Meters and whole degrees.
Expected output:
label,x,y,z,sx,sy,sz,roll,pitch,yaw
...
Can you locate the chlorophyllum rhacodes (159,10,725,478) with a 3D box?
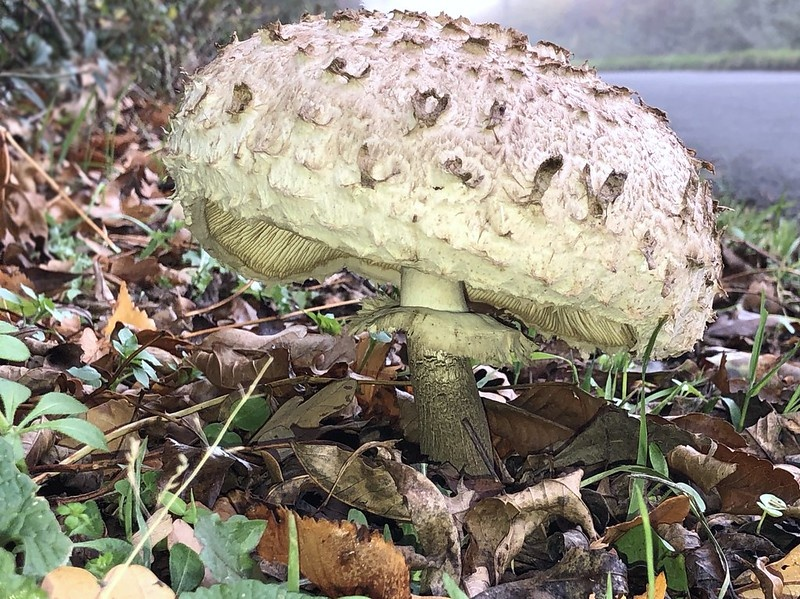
label,x,y,z,sx,sy,sz,roll,pitch,yaw
chlorophyllum rhacodes,0.187,-0.375,2.755,1.963,1.183,0.984,12,45,19
